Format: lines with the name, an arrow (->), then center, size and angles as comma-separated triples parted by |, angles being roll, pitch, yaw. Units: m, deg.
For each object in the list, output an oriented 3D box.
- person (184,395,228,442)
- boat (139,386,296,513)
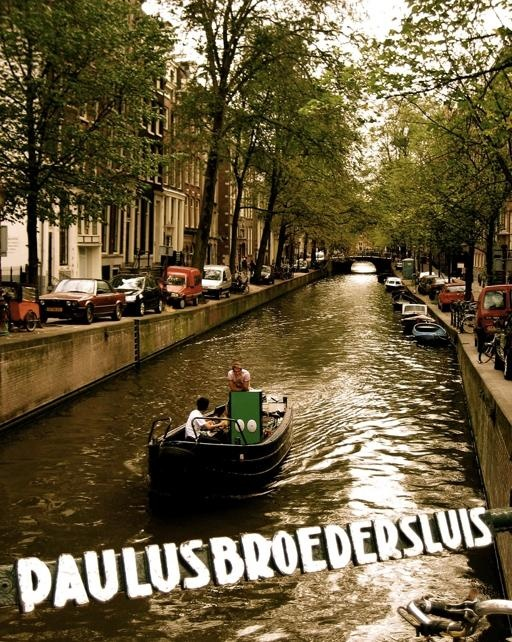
person -> -0.825, 1.875, 11.495 | 0.878, 1.071, 0.530 | -1, -1, -11
boat -> -0.516, 2.345, 13.015 | 2.412, 1.688, 5.062 | 8, 2, 7
